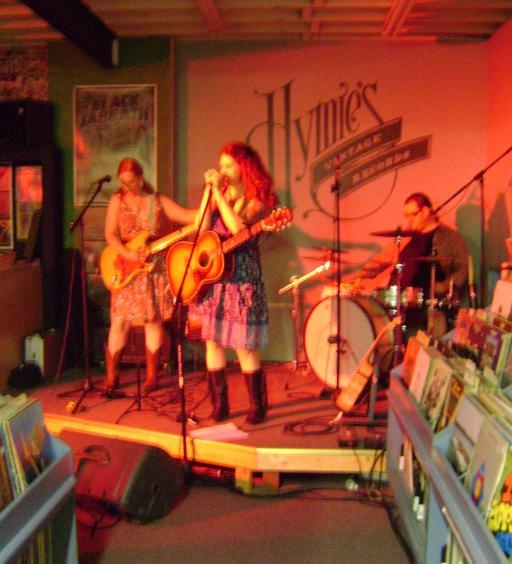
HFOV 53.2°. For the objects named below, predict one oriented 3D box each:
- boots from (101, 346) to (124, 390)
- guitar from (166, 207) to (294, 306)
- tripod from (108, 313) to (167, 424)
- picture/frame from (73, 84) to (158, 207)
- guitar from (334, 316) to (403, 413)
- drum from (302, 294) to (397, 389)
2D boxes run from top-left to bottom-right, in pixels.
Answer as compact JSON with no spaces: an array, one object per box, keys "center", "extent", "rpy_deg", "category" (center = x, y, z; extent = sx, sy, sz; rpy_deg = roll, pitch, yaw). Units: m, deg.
[{"center":[-1.021,0.638,3.642],"extent":[0.136,0.312,0.371],"rpy_deg":[-2,12,-17],"category":"boots"},{"center":[-0.240,-0.165,2.844],"extent":[0.897,0.418,0.140],"rpy_deg":[-33,-15,27],"category":"guitar"},{"center":[-0.865,0.531,3.613],"extent":[0.430,0.497,0.807],"rpy_deg":[-3,12,-23],"category":"tripod"},{"center":[-1.170,-1.152,4.273],"extent":[0.690,1.150,0.043],"rpy_deg":[-3,-14,-7],"category":"picture/frame"},{"center":[0.663,0.475,3.093],"extent":[0.100,0.778,0.297],"rpy_deg":[31,35,14],"category":"guitar"},{"center":[0.588,0.376,3.483],"extent":[0.525,0.686,0.241],"rpy_deg":[7,16,36],"category":"drum"}]
